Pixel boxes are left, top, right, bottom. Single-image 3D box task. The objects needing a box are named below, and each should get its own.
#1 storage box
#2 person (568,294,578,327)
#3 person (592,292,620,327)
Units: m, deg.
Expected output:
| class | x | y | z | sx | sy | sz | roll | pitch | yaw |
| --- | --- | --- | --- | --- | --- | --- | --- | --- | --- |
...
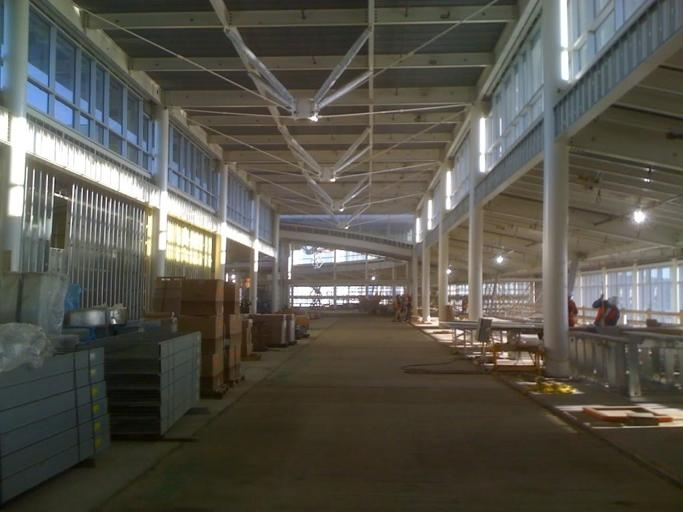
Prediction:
| class | x | y | z | sx | sy | sz | roll | pitch | yaw |
| --- | --- | --- | --- | --- | --- | --- | --- | --- | --- |
| storage box | -2.956 | 1.881 | 14.323 | 0.743 | 2.655 | 2.229 | -2 | -7 | 15 |
| person | 7.445 | 1.781 | 19.974 | 0.238 | 1.059 | 3.547 | -2 | -7 | 20 |
| person | 8.391 | 1.719 | 19.683 | 0.701 | 1.039 | 3.699 | -3 | -7 | 22 |
